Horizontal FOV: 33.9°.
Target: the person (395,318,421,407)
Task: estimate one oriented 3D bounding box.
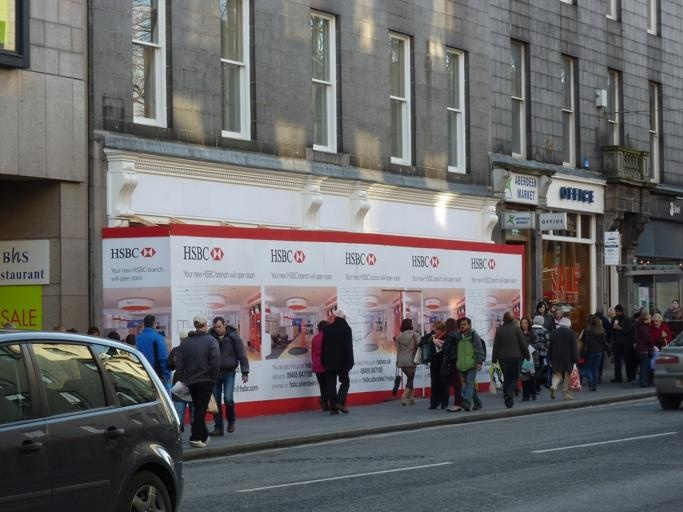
[{"bbox_3d":[1.496,2.375,25.134,0.511,1.966,0.940,-1,-3,-4],"label":"person"}]

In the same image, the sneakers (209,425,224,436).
[{"bbox_3d":[-2.325,3.227,20.647,0.339,0.257,0.121,4,-5,-4],"label":"sneakers"}]

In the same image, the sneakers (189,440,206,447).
[{"bbox_3d":[-2.466,3.222,19.316,0.318,0.142,0.115,-1,-3,13],"label":"sneakers"}]

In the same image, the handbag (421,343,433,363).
[{"bbox_3d":[1.882,2.137,24.663,0.267,0.548,0.400,0,-3,13],"label":"handbag"}]

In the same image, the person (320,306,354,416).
[{"bbox_3d":[-0.087,2.232,23.602,0.648,2.182,0.535,-1,-3,0],"label":"person"}]

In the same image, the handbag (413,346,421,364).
[{"bbox_3d":[1.694,2.191,24.768,0.159,0.368,0.141,-1,-3,-6],"label":"handbag"}]

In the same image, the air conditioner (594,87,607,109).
[{"bbox_3d":[8.591,-5.250,37.213,0.338,0.697,0.691,-3,-6,30],"label":"air conditioner"}]
